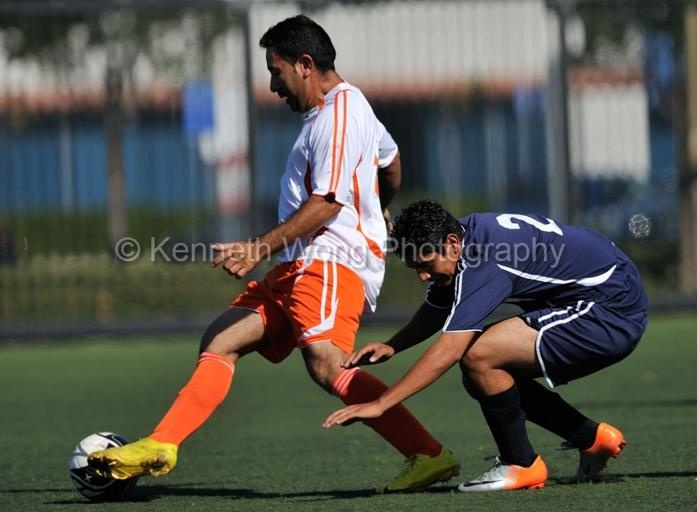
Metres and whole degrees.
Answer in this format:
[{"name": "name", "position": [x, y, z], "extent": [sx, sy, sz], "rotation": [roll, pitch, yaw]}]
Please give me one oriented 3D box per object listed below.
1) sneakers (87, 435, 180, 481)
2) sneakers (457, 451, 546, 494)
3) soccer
[{"name": "sneakers", "position": [-1.404, 1.329, 8.650], "extent": [0.445, 0.185, 0.282], "rotation": [3, -5, -29]}, {"name": "sneakers", "position": [1.059, 1.496, 8.968], "extent": [0.639, 0.262, 0.231], "rotation": [0, -7, -1]}, {"name": "soccer", "position": [-1.658, 1.468, 8.902], "extent": [0.431, 0.451, 0.445], "rotation": [23, -12, 3]}]
